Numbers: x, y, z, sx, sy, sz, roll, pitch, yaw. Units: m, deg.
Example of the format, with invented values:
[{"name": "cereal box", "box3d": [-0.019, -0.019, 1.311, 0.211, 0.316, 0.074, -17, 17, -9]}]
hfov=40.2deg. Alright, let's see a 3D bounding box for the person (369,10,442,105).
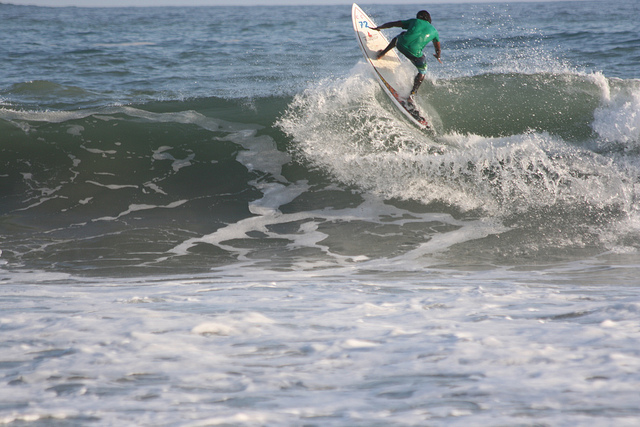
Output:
[{"name": "person", "box3d": [1.864, -3.080, 17.759, 1.111, 1.918, 0.646, -7, 24, 4]}]
